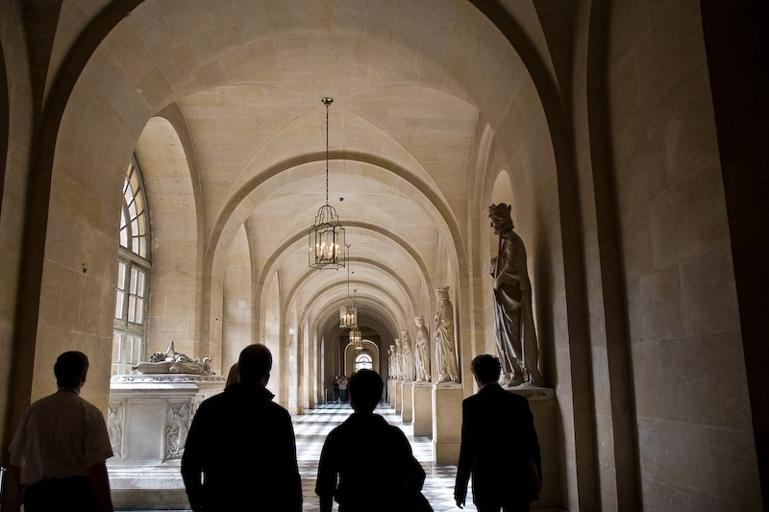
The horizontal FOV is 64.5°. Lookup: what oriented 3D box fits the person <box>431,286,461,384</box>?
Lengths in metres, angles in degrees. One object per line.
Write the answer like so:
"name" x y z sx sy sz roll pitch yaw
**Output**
"person" 1.302 1.648 12.811 0.476 2.031 1.140 -3 -14 5
